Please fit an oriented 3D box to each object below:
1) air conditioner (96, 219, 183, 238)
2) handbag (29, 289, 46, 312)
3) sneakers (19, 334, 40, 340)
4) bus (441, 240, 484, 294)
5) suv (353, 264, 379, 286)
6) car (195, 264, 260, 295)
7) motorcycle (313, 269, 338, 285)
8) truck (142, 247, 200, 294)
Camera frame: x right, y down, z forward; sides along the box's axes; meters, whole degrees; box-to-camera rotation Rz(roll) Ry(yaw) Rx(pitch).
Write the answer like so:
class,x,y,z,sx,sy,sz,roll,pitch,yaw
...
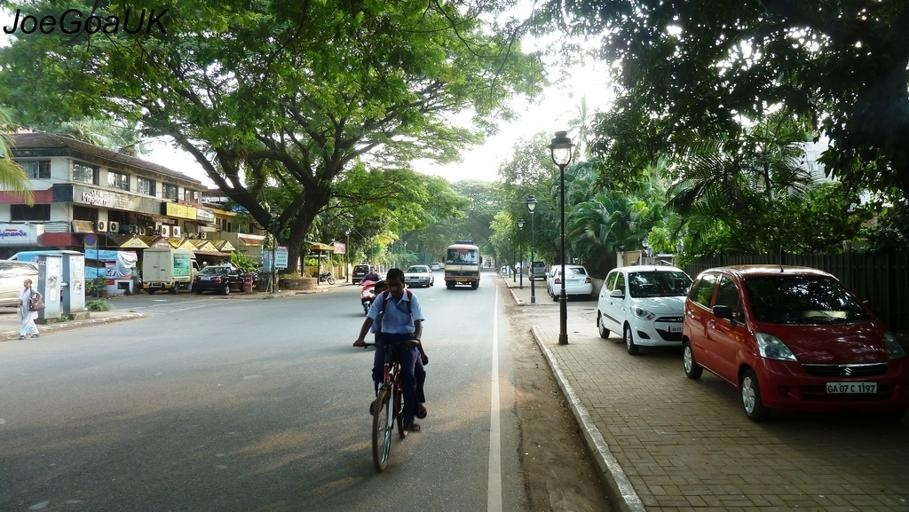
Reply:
class,x,y,z,sx,sy,sz,roll,pitch,yaw
air conditioner,-22.565,-1.977,47.922,0.806,1.064,7.930,-4,-3,29
handbag,-13.242,1.402,21.256,0.311,0.684,0.549,-3,13,-11
sneakers,-13.472,2.588,21.279,0.630,0.255,0.189,-2,7,-4
bus,0.556,1.017,48.072,2.385,3.041,3.390,-1,12,-2
suv,-5.509,1.156,40.376,1.491,1.283,2.525,0,7,7
car,-14.009,1.562,40.256,1.958,2.013,3.104,1,12,9
motorcycle,-11.119,1.889,57.664,1.868,1.061,1.156,-1,8,5
truck,-17.299,0.810,39.382,2.205,2.322,4.250,0,3,-1
